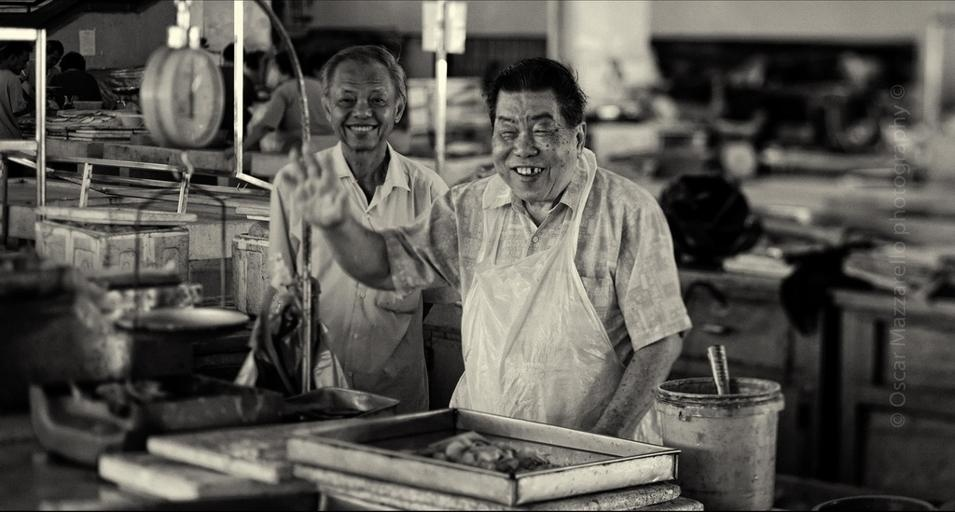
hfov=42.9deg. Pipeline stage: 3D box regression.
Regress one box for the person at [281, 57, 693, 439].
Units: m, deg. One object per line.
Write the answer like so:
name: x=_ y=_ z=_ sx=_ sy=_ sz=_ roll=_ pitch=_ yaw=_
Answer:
person: x=0.262 y=-0.056 z=5.682 sx=1.462 sy=1.686 sz=0.467 roll=1 pitch=10 yaw=14

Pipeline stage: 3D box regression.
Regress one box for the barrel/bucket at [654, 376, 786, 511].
barrel/bucket: x=1.017 y=0.791 z=5.367 sx=0.550 sy=0.534 sz=0.549 roll=-1 pitch=-3 yaw=0
